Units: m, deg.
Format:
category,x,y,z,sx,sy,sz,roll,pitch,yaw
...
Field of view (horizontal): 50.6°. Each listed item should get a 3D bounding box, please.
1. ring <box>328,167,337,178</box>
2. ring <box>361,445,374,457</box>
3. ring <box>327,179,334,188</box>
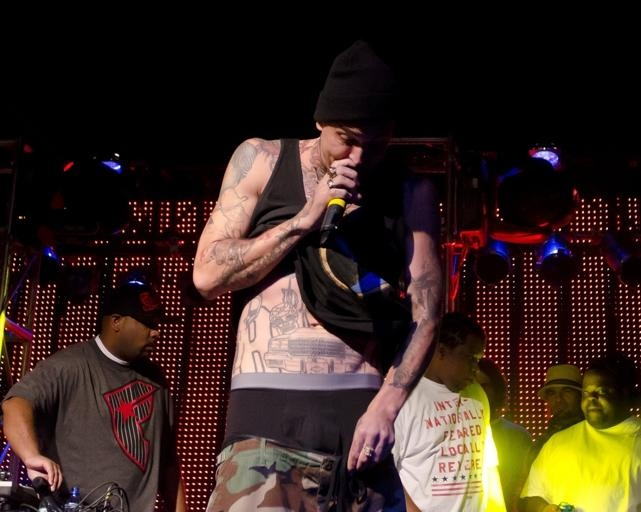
category,x,y,z,sx,sy,sz,roll,pitch,yaw
ring,0.048,-0.294,2.347,0.011,0.039,0.037,16,-20,-38
ring,0.157,0.637,2.206,0.032,0.033,0.031,1,-8,0
ring,0.034,-0.246,2.295,0.018,0.026,0.008,2,-13,10
